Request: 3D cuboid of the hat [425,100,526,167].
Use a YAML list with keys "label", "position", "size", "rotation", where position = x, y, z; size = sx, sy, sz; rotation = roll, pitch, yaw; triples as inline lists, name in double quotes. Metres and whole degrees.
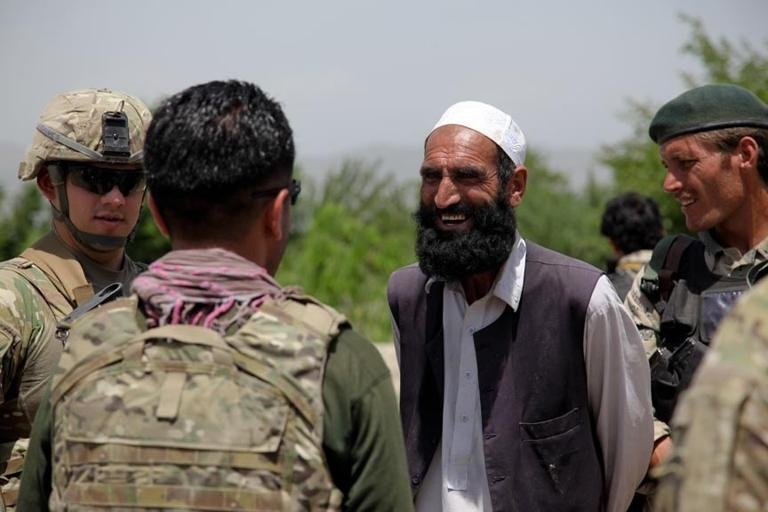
- label: "hat"
  position: [0.452, -0.684, 6.336]
  size: [0.492, 0.211, 0.469]
  rotation: [10, -13, -17]
